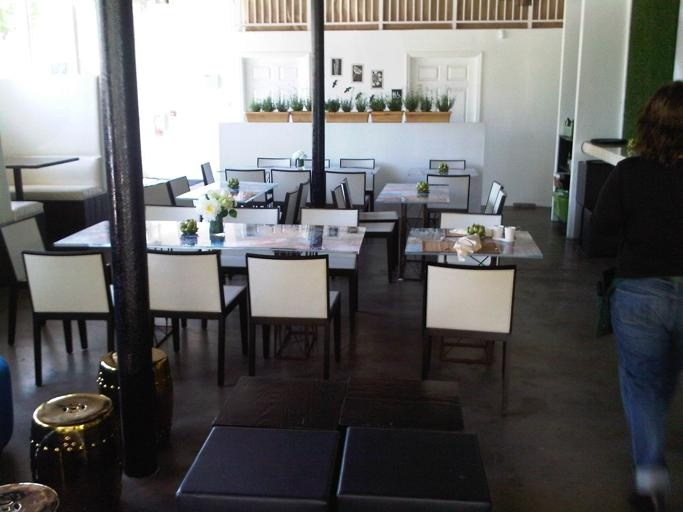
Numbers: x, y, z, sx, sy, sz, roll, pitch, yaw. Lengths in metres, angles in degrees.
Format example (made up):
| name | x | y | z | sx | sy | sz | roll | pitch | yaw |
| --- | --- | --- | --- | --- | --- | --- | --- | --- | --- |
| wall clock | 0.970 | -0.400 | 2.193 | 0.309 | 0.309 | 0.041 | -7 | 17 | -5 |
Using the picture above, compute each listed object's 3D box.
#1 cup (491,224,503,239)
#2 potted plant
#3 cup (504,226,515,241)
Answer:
| name | x | y | z | sx | sy | sz | roll | pitch | yaw |
| --- | --- | --- | --- | --- | --- | --- | --- | --- | --- |
| cup | 1.210 | -0.189 | 4.448 | 0.090 | 0.098 | 0.092 | -1 | 7 | 0 |
| potted plant | 0.166 | -2.604 | 10.017 | 3.328 | 0.471 | 1.234 | -1 | 15 | 2 |
| cup | 1.280 | -0.173 | 4.323 | 0.084 | 0.108 | 0.092 | 3 | 15 | 14 |
